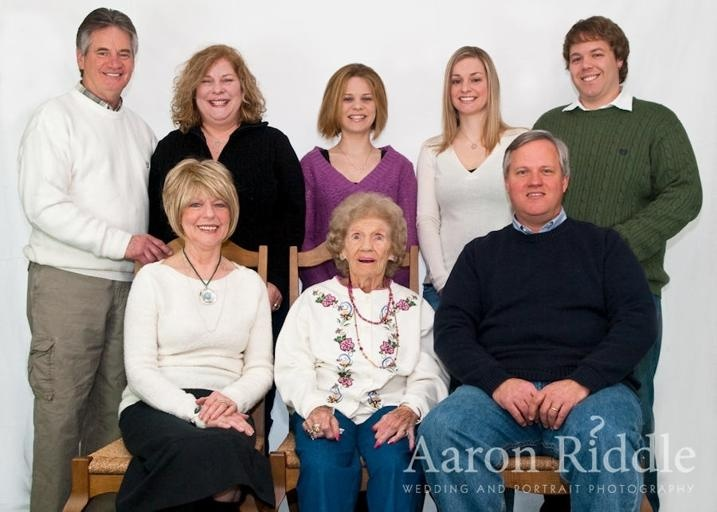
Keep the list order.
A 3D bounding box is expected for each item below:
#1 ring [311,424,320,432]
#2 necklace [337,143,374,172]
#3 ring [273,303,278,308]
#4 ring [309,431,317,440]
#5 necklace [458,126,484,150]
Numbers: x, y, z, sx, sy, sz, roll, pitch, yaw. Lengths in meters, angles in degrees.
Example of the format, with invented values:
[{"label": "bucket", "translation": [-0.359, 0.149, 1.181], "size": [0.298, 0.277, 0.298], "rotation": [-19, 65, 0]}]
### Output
[{"label": "ring", "translation": [-0.191, 0.766, 3.175], "size": [0.022, 0.035, 0.011], "rotation": [-2, -6, 12]}, {"label": "necklace", "translation": [-0.018, -0.568, 4.128], "size": [0.253, 0.148, 0.067], "rotation": [-2, -7, -1]}, {"label": "ring", "translation": [-0.443, 0.262, 3.768], "size": [0.018, 0.018, 0.005], "rotation": [2, 10, -30]}, {"label": "ring", "translation": [-0.204, 0.804, 3.187], "size": [0.032, 0.039, 0.014], "rotation": [1, 8, 26]}, {"label": "necklace", "translation": [0.639, -0.671, 4.050], "size": [0.116, 0.111, 0.037], "rotation": [0, -2, 26]}]
